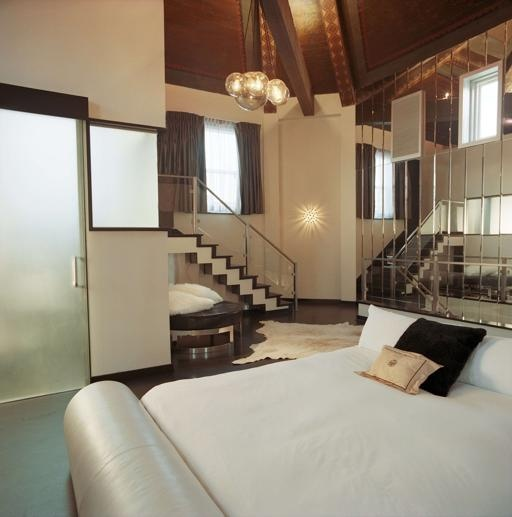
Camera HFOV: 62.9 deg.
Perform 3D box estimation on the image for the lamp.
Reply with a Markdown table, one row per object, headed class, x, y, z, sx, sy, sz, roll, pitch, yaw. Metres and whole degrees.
| class | x | y | z | sx | sy | sz | roll | pitch | yaw |
| --- | --- | --- | --- | --- | --- | --- | --- | --- | --- |
| lamp | 0.021 | -1.858 | 4.612 | 0.531 | 0.468 | 0.678 | 4 | 9 | 27 |
